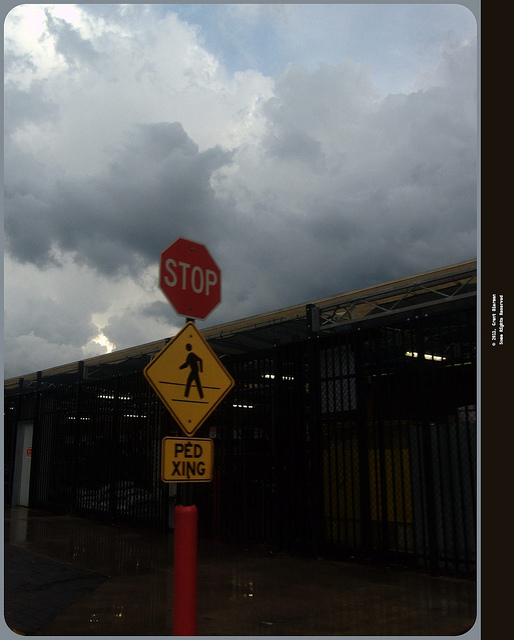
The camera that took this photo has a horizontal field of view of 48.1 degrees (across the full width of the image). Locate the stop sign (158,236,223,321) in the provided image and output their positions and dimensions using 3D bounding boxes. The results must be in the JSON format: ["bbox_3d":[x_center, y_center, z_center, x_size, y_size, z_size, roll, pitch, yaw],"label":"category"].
[{"bbox_3d":[-0.471,-0.288,3.884,0.534,0.694,0.070,7,-14,-43],"label":"stop sign"}]
